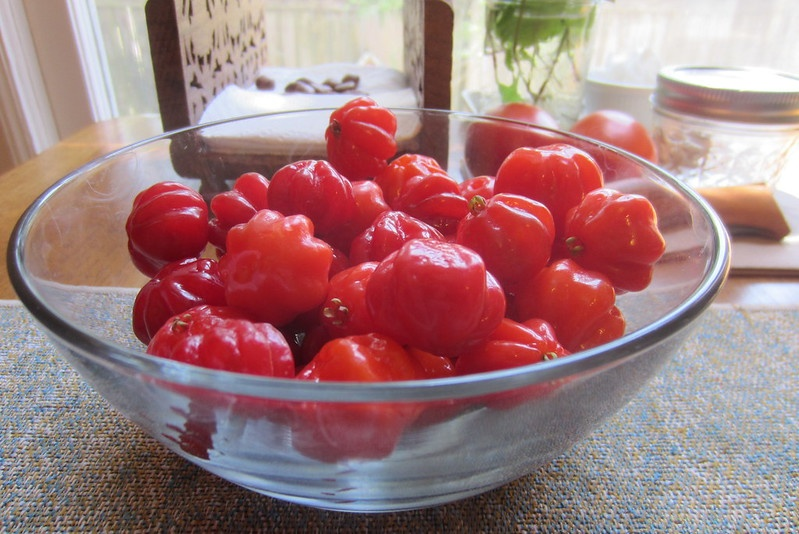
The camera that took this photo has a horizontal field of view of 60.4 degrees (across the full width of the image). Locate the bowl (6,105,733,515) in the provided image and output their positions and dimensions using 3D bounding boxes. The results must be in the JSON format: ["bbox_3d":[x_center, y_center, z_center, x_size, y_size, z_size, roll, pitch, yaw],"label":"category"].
[{"bbox_3d":[-0.028,0.023,0.817,0.745,0.290,0.523,6,30,4],"label":"bowl"}]
